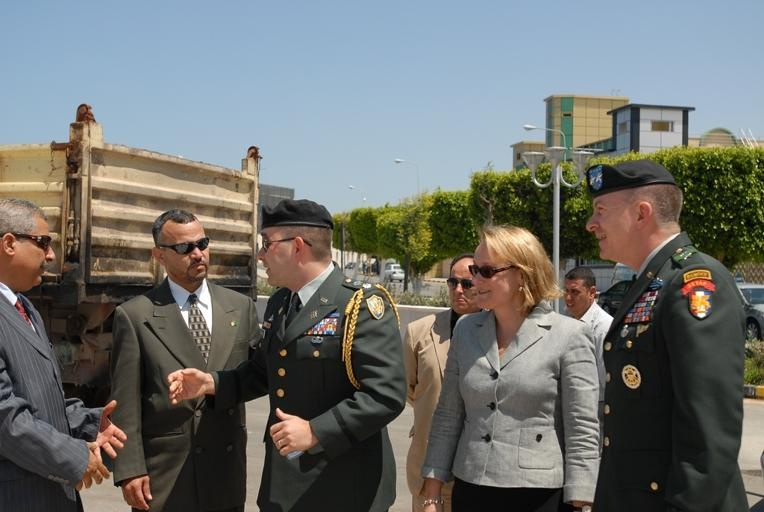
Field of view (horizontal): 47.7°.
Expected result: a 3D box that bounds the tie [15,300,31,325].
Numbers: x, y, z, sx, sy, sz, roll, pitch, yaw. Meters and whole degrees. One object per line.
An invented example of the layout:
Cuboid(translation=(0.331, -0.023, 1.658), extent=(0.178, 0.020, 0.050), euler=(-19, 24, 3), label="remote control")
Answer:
Cuboid(translation=(-2.249, 0.352, 5.389), extent=(0.022, 0.195, 0.050), euler=(-30, -39, -1), label="tie")

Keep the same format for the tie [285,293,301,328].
Cuboid(translation=(-0.557, 0.339, 5.388), extent=(0.068, 0.187, 0.127), euler=(16, -11, -25), label="tie")

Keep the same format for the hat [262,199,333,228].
Cuboid(translation=(-0.527, -0.250, 5.260), extent=(0.494, 0.198, 0.382), euler=(2, 2, 19), label="hat")

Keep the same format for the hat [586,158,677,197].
Cuboid(translation=(1.496, -0.474, 5.128), extent=(0.542, 0.208, 0.440), euler=(-6, -1, -8), label="hat")
